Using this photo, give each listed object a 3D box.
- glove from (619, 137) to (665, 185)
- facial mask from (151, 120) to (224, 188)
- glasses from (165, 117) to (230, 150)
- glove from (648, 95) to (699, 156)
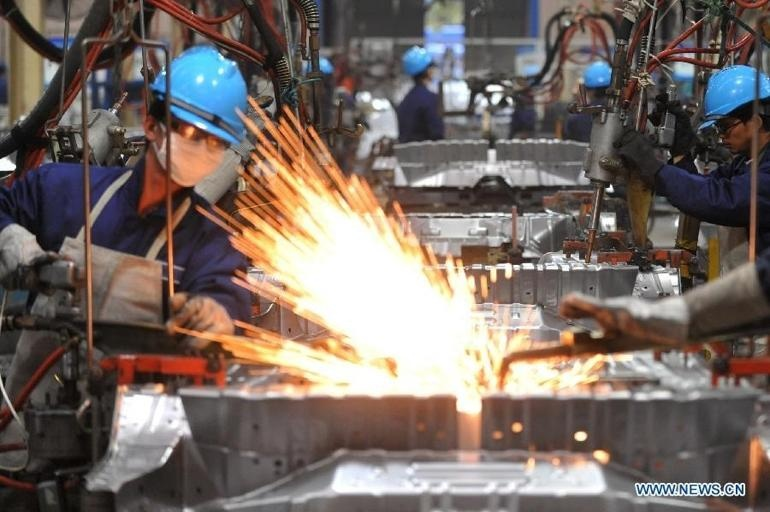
[{"bbox_3d":[1.779,-0.685,9.059,0.221,0.160,0.400,-29,69,16],"label":"glove"},{"bbox_3d":[-1.256,-0.601,8.004,0.380,0.345,0.300,-12,48,53],"label":"facial mask"},{"bbox_3d":[-1.117,-0.796,8.016,0.225,0.104,0.281,25,20,-7],"label":"glasses"},{"bbox_3d":[2.043,-0.925,9.212,0.381,0.388,0.144,5,4,-14],"label":"glove"}]
